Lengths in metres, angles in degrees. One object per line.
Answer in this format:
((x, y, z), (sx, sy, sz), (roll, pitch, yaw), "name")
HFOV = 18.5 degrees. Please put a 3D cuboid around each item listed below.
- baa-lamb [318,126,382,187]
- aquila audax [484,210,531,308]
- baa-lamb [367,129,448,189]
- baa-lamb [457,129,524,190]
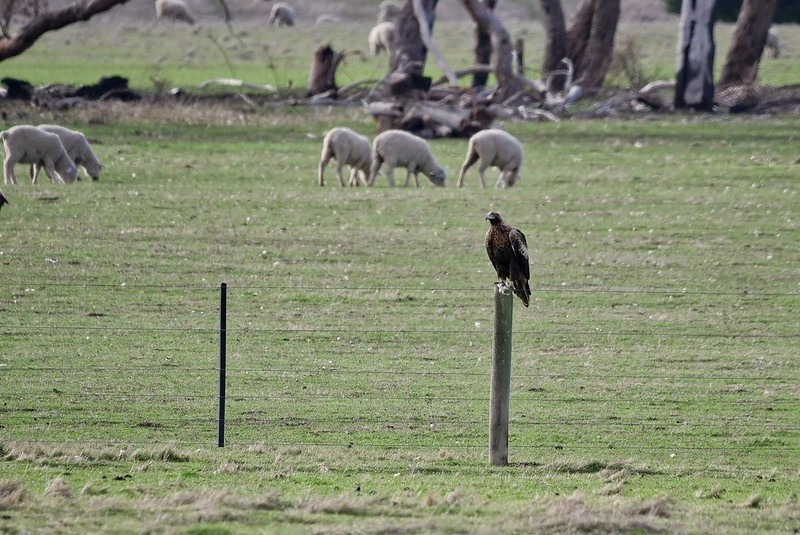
((-1.634, -3.667, 81.924), (1.054, 1.892, 3.617), (3, -2, 24), "baa-lamb")
((3.115, -0.315, 67.900), (1.169, 2.204, 2.146), (-9, -20, 35), "aquila audax")
((0.311, -3.509, 81.347), (2.899, 1.855, 0.885), (12, -7, -28), "baa-lamb")
((3.151, -3.727, 80.962), (2.010, 1.806, 1.374), (6, 11, 33), "baa-lamb")
